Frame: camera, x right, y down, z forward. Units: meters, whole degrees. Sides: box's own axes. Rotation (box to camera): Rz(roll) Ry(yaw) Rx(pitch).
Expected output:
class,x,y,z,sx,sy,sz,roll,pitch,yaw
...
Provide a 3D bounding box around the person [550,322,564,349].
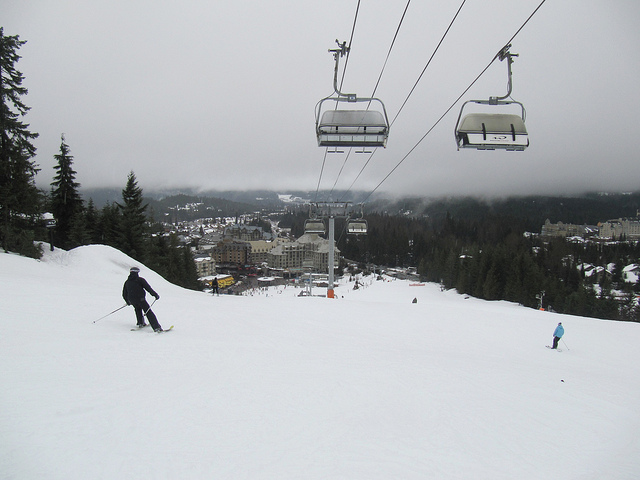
class,x,y,z,sx,sy,sz,roll,pitch,yaw
person,10.554,4.238,25.297,0.416,1.060,1.301,3,3,23

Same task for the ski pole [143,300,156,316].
class,x,y,z,sx,sy,sz,roll,pitch,yaw
ski pole,-6.309,2.560,21.244,0.099,0.667,0.098,48,-7,-36
